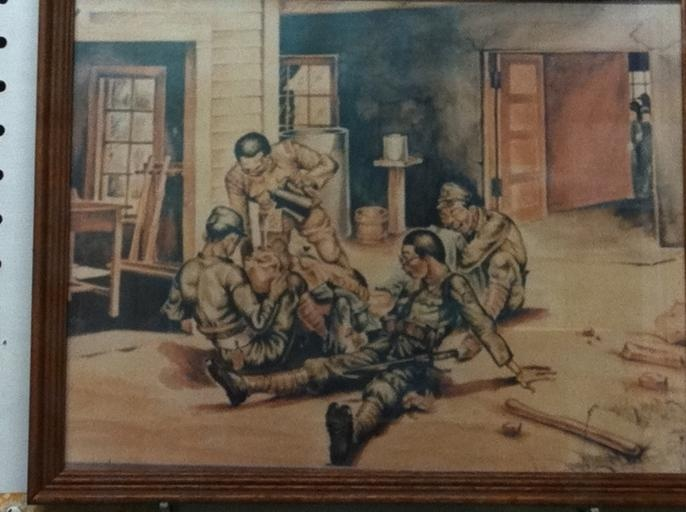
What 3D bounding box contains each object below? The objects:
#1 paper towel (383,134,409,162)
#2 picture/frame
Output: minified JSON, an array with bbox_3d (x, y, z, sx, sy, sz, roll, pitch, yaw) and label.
[{"bbox_3d":[0.366,-0.816,11.044,0.186,0.217,0.185,6,15,21],"label":"paper towel"},{"bbox_3d":[0.038,0.014,10.985,3.279,2.559,0.069,0,-1,4],"label":"picture/frame"}]
